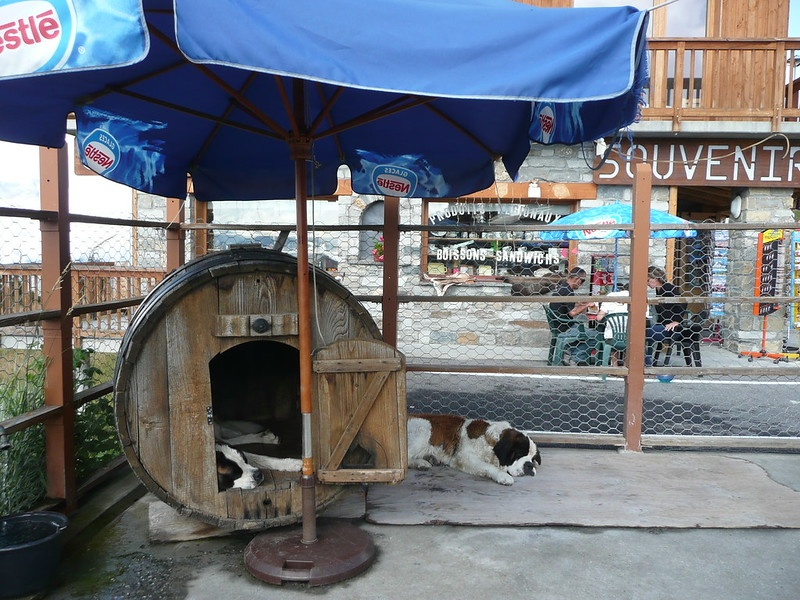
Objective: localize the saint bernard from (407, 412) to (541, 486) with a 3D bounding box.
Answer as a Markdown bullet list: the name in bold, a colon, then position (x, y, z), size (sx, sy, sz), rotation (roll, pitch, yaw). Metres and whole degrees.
- **saint bernard**: position (0.578, 1.209, 6.901), size (0.944, 0.354, 0.539), rotation (2, -7, 35)

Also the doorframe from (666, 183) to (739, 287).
- **doorframe**: position (4.806, -1.002, 13.227), size (1.436, 1.594, 1.374), rotation (1, -3, -1)
